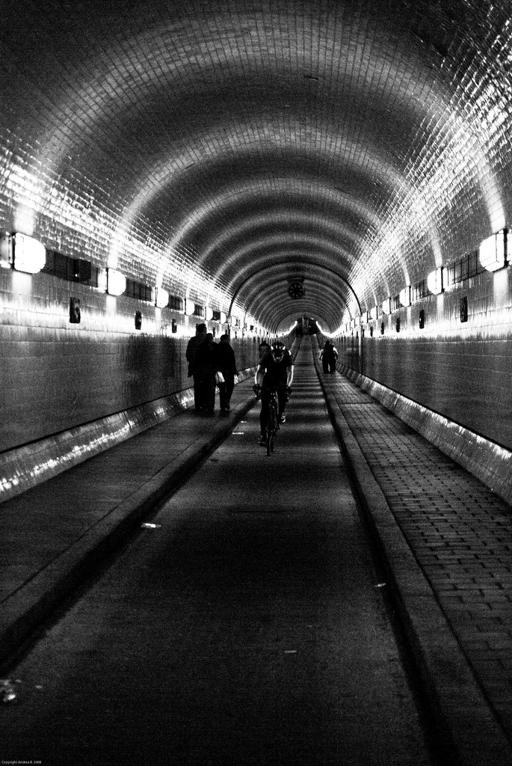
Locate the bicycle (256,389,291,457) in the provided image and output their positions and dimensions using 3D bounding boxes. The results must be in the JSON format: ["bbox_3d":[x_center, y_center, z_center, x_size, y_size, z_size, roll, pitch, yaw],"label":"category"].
[{"bbox_3d":[0.371,0.997,13.103,0.609,1.824,2.389,-2,3,8],"label":"bicycle"}]
